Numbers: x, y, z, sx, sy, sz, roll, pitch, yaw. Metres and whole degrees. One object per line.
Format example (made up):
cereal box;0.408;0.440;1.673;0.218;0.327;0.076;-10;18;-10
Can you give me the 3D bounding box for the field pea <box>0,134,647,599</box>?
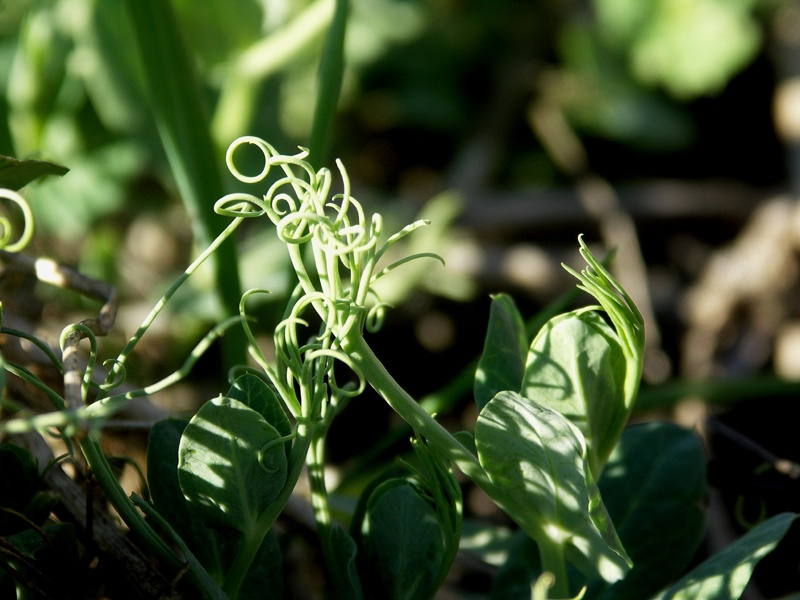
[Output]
field pea;-0.031;0.014;0.563;0.264;0.252;0.319;-2;-14;-8
